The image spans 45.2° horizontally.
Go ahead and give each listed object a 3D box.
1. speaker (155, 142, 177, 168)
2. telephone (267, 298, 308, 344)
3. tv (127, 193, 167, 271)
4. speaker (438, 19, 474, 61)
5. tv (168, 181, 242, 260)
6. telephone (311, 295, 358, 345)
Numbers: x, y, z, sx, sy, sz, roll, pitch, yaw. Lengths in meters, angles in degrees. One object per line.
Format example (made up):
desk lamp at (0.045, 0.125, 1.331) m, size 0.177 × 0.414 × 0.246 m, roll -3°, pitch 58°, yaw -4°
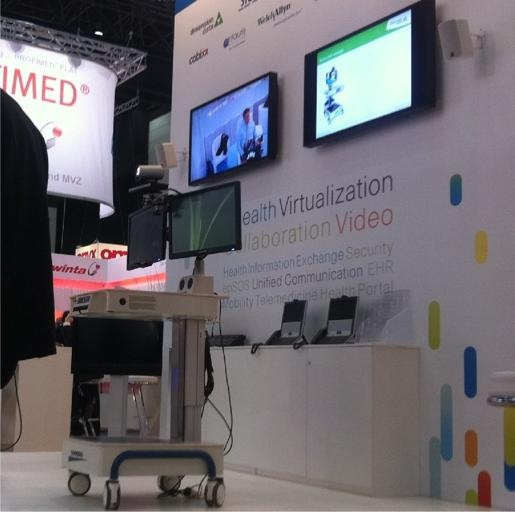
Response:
speaker at (-0.742, -0.817, 5.014) m, size 0.163 × 0.266 × 0.361 m, roll 1°, pitch -4°, yaw -10°
telephone at (0.191, 0.455, 4.184) m, size 0.274 × 0.352 × 0.310 m, roll 4°, pitch -13°, yaw -12°
tv at (-0.736, -0.117, 4.071) m, size 0.388 × 0.380 × 0.029 m, roll -8°, pitch -12°, yaw 42°
speaker at (1.050, -1.133, 3.287) m, size 0.114 × 0.255 × 0.112 m, roll -6°, pitch -3°, yaw 40°
tv at (-0.309, -0.188, 3.518) m, size 0.168 × 0.394 × 0.666 m, roll 3°, pitch -5°, yaw -41°
telephone at (0.481, 0.386, 3.823) m, size 0.254 × 0.343 × 0.251 m, roll -3°, pitch -17°, yaw 26°
